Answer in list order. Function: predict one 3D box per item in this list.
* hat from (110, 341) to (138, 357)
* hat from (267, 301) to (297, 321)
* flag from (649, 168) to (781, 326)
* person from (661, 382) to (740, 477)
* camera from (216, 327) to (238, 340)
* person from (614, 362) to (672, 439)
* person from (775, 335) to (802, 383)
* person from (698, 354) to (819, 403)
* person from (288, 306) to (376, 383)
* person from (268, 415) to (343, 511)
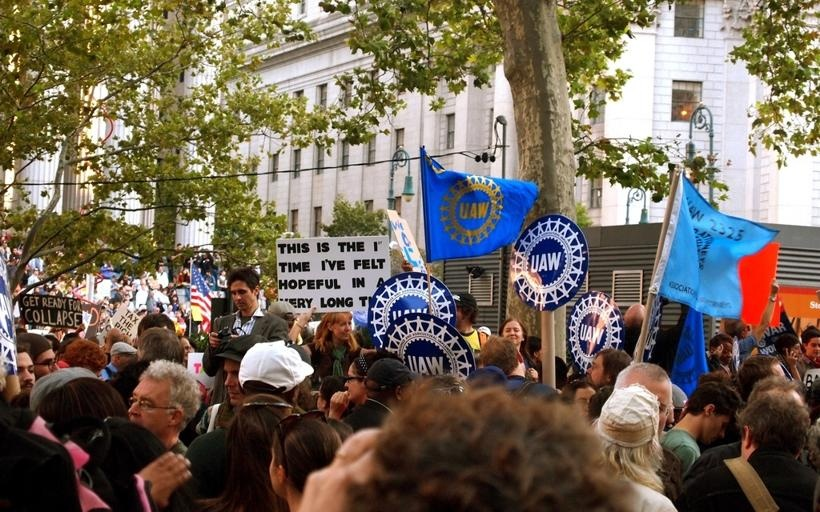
[{"bbox_3d":[-4.464,1.449,17.787,0.332,0.173,0.220,-9,1,-13],"label":"hat"},{"bbox_3d":[-2.167,0.906,19.434,0.453,0.239,0.319,9,7,11],"label":"hat"},{"bbox_3d":[4.775,-0.130,17.537,2.551,2.189,0.681,4,-5,-43],"label":"flag"},{"bbox_3d":[3.766,2.261,14.701,0.542,0.999,0.829,38,-15,7],"label":"person"},{"bbox_3d":[-2.619,1.105,16.208,0.268,0.106,0.266,-1,-5,-11],"label":"camera"},{"bbox_3d":[2.994,1.730,14.212,0.700,0.869,0.898,3,3,25],"label":"person"},{"bbox_3d":[6.520,1.741,19.632,0.356,1.231,0.332,-15,-41,27],"label":"person"},{"bbox_3d":[4.649,1.551,15.973,1.184,0.702,0.579,9,-18,47],"label":"person"},{"bbox_3d":[-1.201,1.349,17.439,1.153,1.678,0.602,1,-7,-33],"label":"person"},{"bbox_3d":[-1.236,2.307,13.162,0.811,1.083,0.329,4,0,-41],"label":"person"}]
